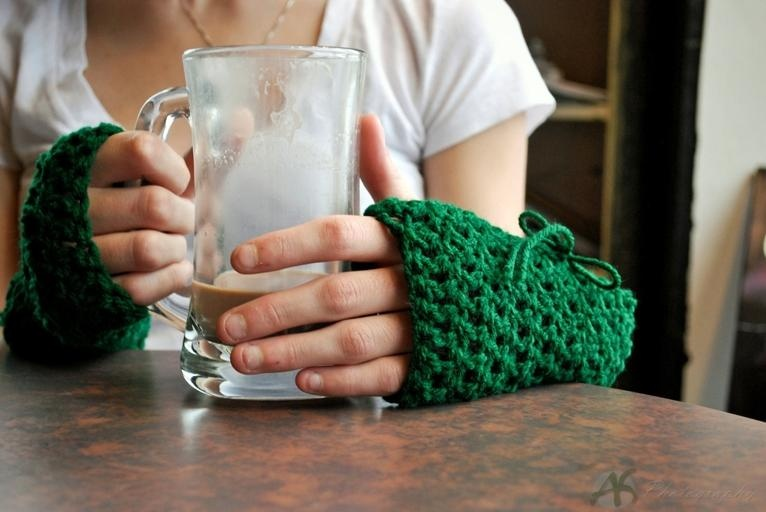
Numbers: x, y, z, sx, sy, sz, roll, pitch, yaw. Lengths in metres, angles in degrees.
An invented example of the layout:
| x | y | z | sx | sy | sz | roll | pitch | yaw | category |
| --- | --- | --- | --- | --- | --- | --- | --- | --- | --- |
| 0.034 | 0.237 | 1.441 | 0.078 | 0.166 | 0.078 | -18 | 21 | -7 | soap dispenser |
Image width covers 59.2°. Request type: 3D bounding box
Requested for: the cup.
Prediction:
| x | y | z | sx | sy | sz | roll | pitch | yaw | category |
| --- | --- | --- | --- | --- | --- | --- | --- | --- | --- |
| -0.106 | -0.030 | 0.638 | 0.178 | 0.324 | 0.117 | 0 | 16 | 7 | cup |
